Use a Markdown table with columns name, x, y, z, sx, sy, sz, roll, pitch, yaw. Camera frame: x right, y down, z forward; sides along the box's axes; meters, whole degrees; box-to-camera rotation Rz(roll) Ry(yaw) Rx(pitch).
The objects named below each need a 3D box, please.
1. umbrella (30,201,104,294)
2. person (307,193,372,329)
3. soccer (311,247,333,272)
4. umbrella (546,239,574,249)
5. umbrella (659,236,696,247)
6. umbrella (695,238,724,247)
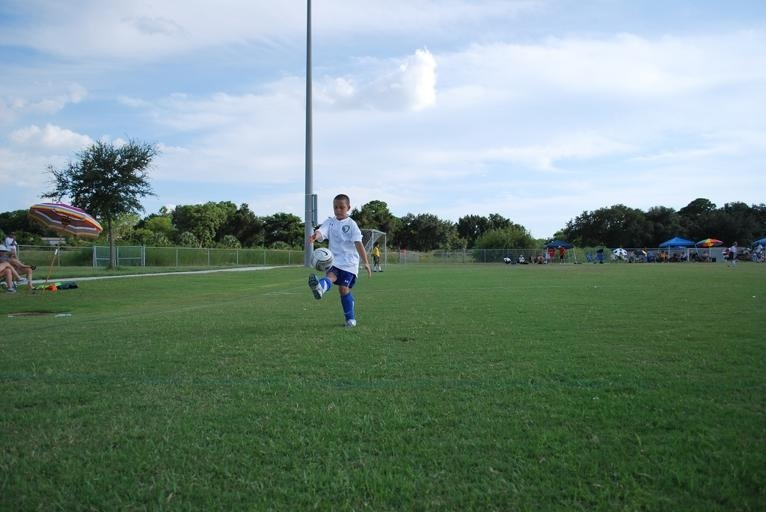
| name | x | y | z | sx | sy | sz | roll | pitch | yaw |
| --- | --- | --- | --- | --- | --- | --- | --- | --- | --- |
| umbrella | -15.136 | -0.309 | 28.166 | 3.205 | 3.554 | 3.273 | 5 | -28 | -5 |
| person | -0.738 | 0.110 | 9.931 | 0.945 | 2.320 | 0.860 | -5 | 15 | -20 |
| soccer | -1.016 | 0.080 | 9.915 | 0.310 | 0.397 | 0.424 | 10 | 18 | 35 |
| umbrella | 20.698 | -1.428 | 67.949 | 2.079 | 0.741 | 2.167 | -1 | -6 | 13 |
| umbrella | 33.822 | -1.688 | 67.513 | 1.667 | 0.783 | 1.731 | 2 | -7 | -9 |
| umbrella | 37.402 | -1.604 | 66.567 | 1.433 | 0.580 | 1.554 | 2 | -4 | -6 |
